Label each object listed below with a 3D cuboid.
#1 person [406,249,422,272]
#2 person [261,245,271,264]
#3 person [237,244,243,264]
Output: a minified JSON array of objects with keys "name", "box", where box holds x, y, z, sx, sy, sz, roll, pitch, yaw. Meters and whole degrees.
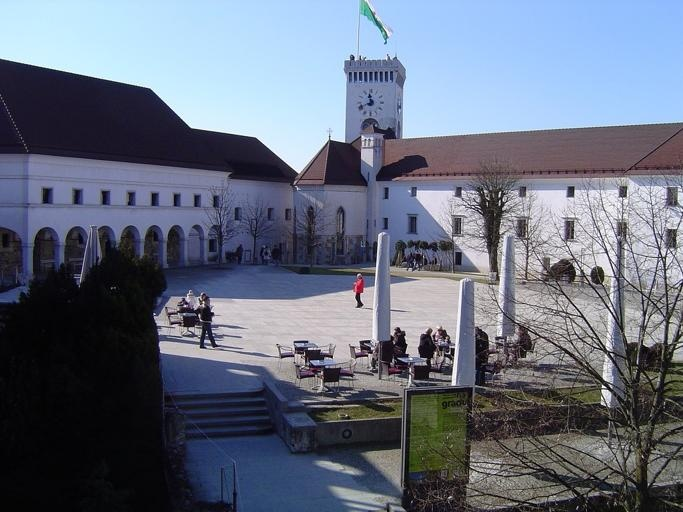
[{"name":"person","box":[6.133,0.398,60.979,1.283,1.052,1.367,3,12,27]},{"name":"person","box":[-6.452,-0.001,61.933,0.676,1.539,1.645,-1,12,-13]},{"name":"person","box":[-8.879,-0.083,63.316,0.584,1.631,2.160,0,12,-8]}]
